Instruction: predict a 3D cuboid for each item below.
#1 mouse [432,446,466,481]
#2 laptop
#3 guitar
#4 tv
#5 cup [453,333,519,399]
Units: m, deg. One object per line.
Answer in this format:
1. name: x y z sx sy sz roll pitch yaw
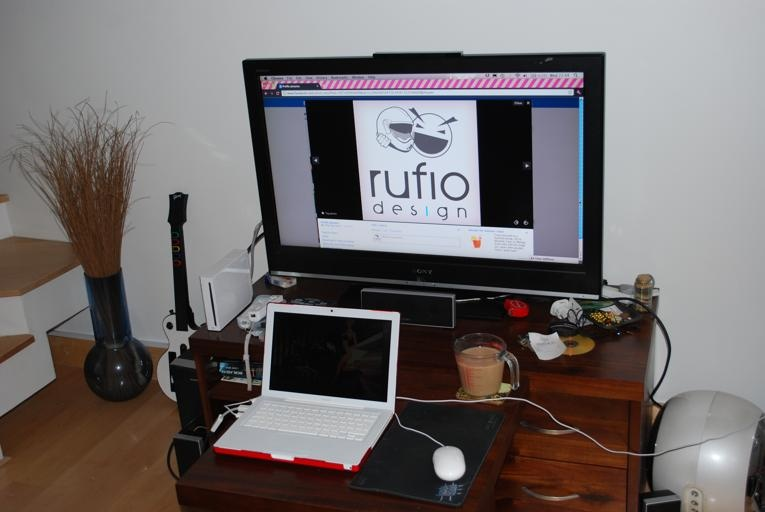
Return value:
1. mouse: 0.206 0.643 1.855 0.105 0.078 0.075 2 14 5
2. laptop: -0.247 0.428 2.033 0.545 0.429 0.345 3 14 12
3. guitar: -1.251 0.264 3.607 0.120 1.247 0.382 10 14 20
4. tv: 0.169 -0.356 2.680 1.612 0.997 0.108 3 19 16
5. cup: 0.371 0.380 2.213 0.200 0.235 0.224 2 24 5
